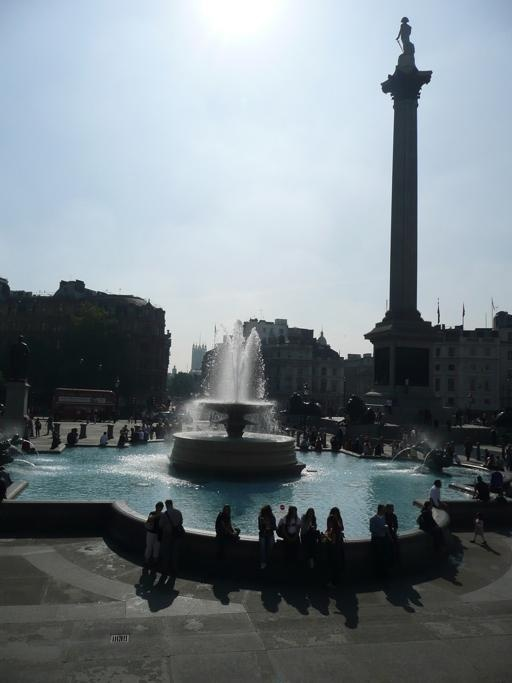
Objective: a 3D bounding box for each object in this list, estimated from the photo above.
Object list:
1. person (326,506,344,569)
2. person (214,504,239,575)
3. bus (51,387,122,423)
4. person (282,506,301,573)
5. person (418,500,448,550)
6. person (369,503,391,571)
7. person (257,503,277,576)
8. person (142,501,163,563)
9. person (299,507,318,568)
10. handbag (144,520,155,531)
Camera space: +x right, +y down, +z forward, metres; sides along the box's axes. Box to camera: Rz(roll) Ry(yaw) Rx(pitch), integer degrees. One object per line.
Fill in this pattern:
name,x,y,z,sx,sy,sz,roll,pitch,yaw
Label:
person,1.206,3.028,8.786,0.267,0.937,0.246,0,-5,7
person,-0.460,2.968,9.037,0.371,0.805,0.357,8,4,29
bus,-15.411,5.743,51.174,6.658,3.883,2.524,-1,1,-18
person,0.552,3.040,8.872,0.245,0.942,0.336,1,-5,2
person,3.130,3.298,10.283,0.413,0.815,0.775,-1,-5,27
person,1.948,3.124,9.041,0.301,1.067,0.387,0,-5,11
person,0.159,3.020,8.880,0.264,0.924,0.389,0,-5,8
person,-1.636,3.061,9.165,0.268,0.969,0.410,2,-5,-11
person,0.823,2.996,8.799,0.301,0.857,0.268,1,-5,2
handbag,-1.671,2.881,9.012,0.169,0.178,0.057,-1,-5,24
